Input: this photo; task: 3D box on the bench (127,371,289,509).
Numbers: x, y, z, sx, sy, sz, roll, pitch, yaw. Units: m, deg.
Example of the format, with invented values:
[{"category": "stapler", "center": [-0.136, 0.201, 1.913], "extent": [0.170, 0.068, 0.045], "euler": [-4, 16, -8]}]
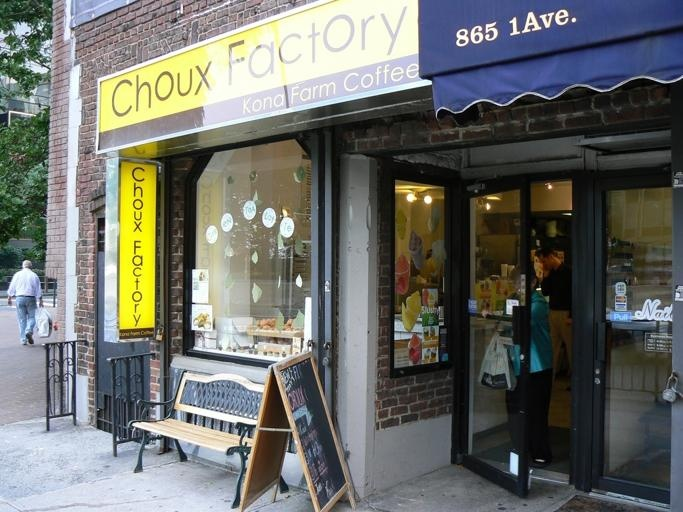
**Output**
[{"category": "bench", "center": [-1.354, 1.667, 6.774], "extent": [2.096, 1.504, 0.924], "euler": [-1, -5, 39]}]

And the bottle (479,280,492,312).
[{"category": "bottle", "center": [1.524, 0.422, 6.707], "extent": [0.016, 0.382, 0.133], "euler": [1, 0, -32]}]

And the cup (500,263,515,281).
[{"category": "cup", "center": [1.685, 0.160, 6.485], "extent": [0.103, 0.233, 0.223], "euler": [3, -7, 0]}]

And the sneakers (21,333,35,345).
[{"category": "sneakers", "center": [-7.444, 1.982, 15.164], "extent": [0.157, 0.200, 0.472], "euler": [0, -46, -18]}]

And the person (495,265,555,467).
[{"category": "person", "center": [1.940, 1.286, 6.626], "extent": [0.426, 2.046, 1.027], "euler": [1, 0, 24]}]

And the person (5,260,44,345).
[{"category": "person", "center": [-7.392, 1.103, 14.966], "extent": [0.648, 1.706, 1.166], "euler": [1, 0, -31]}]

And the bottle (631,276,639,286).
[{"category": "bottle", "center": [2.717, 0.230, 5.905], "extent": [0.073, 0.093, 0.014], "euler": [1, 0, 41]}]

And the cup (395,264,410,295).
[{"category": "cup", "center": [0.633, 0.257, 6.556], "extent": [0.189, 0.396, 0.247], "euler": [0, -1, 11]}]
